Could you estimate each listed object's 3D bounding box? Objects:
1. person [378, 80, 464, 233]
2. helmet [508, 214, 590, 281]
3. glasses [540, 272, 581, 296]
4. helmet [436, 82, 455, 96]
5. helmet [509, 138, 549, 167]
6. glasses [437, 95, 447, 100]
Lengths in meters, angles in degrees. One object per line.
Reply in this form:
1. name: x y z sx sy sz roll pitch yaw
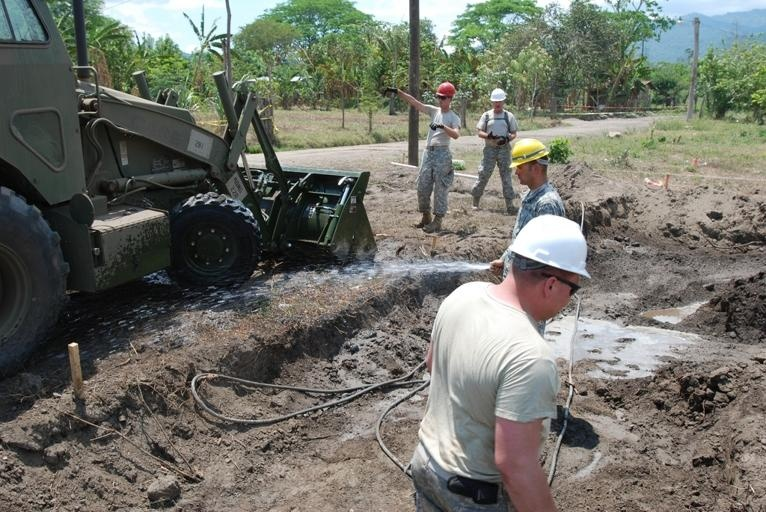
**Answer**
1. person: 0.912 -1.644 11.878 0.710 2.461 0.465 1 18 1
2. helmet: 1.308 -0.039 5.487 0.525 0.317 0.437 13 7 -1
3. glasses: 1.378 0.180 5.418 0.221 0.068 0.215 34 -8 -5
4. helmet: 1.040 -2.754 11.639 0.275 0.183 0.224 9 23 12
5. helmet: 1.590 -1.144 7.674 0.346 0.196 0.289 -14 22 -2
6. glasses: 0.966 -2.629 11.628 0.202 0.075 0.084 17 25 38
